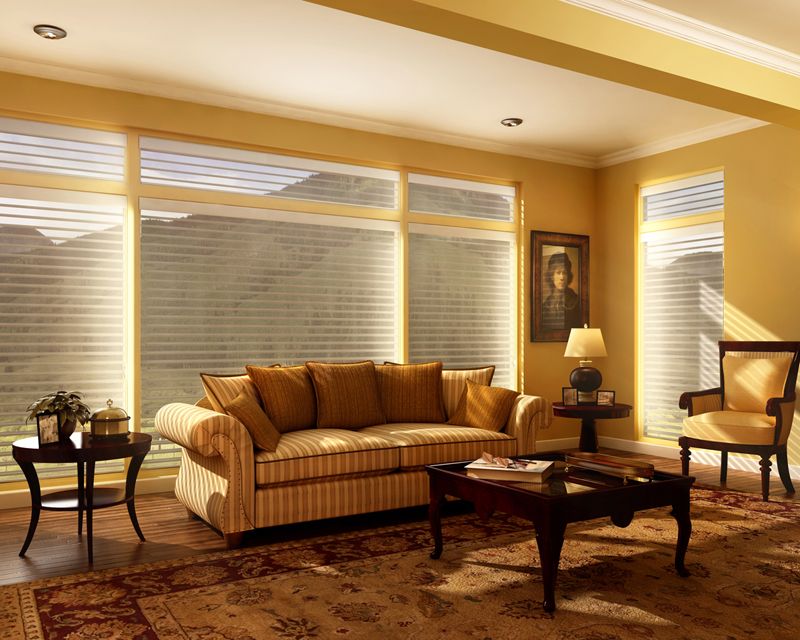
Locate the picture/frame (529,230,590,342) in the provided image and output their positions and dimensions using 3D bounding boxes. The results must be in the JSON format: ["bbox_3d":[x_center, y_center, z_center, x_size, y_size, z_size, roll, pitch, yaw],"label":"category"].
[{"bbox_3d":[1.812,-0.365,7.106,0.842,1.257,0.166,0,0,-36],"label":"picture/frame"}]

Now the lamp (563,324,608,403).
[{"bbox_3d":[1.896,0.447,6.456,0.372,0.730,0.988,0,0,15],"label":"lamp"}]

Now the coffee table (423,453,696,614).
[{"bbox_3d":[0.735,1.095,3.476,1.007,0.331,0.928,2,-3,-34],"label":"coffee table"}]

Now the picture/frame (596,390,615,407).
[{"bbox_3d":[1.977,0.765,6.060,0.210,0.131,0.019,4,-3,17],"label":"picture/frame"}]

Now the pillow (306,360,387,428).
[{"bbox_3d":[-0.391,0.581,4.808,0.740,0.460,0.208,-1,-18,-40],"label":"pillow"}]

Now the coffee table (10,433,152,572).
[{"bbox_3d":[-1.991,1.057,3.916,1.003,0.604,0.919,2,-4,-25],"label":"coffee table"}]

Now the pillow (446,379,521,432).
[{"bbox_3d":[0.657,0.678,4.917,0.540,0.354,0.159,10,-19,39],"label":"pillow"}]

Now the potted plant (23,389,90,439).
[{"bbox_3d":[-2.054,0.590,3.931,0.447,0.212,0.351,1,-6,1],"label":"potted plant"}]
